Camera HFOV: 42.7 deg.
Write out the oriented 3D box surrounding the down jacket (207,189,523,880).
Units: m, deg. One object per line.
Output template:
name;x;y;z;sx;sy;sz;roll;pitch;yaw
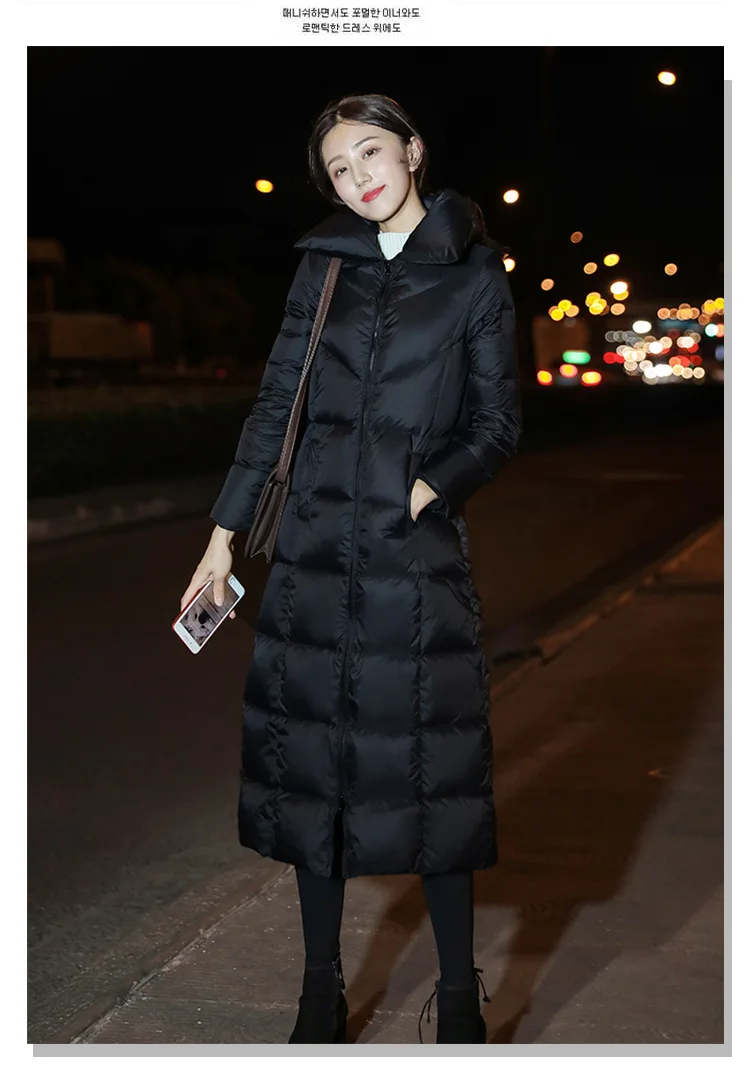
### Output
down jacket;-0.005;-0.010;2.297;0.683;1.610;0.418;1;10;7
